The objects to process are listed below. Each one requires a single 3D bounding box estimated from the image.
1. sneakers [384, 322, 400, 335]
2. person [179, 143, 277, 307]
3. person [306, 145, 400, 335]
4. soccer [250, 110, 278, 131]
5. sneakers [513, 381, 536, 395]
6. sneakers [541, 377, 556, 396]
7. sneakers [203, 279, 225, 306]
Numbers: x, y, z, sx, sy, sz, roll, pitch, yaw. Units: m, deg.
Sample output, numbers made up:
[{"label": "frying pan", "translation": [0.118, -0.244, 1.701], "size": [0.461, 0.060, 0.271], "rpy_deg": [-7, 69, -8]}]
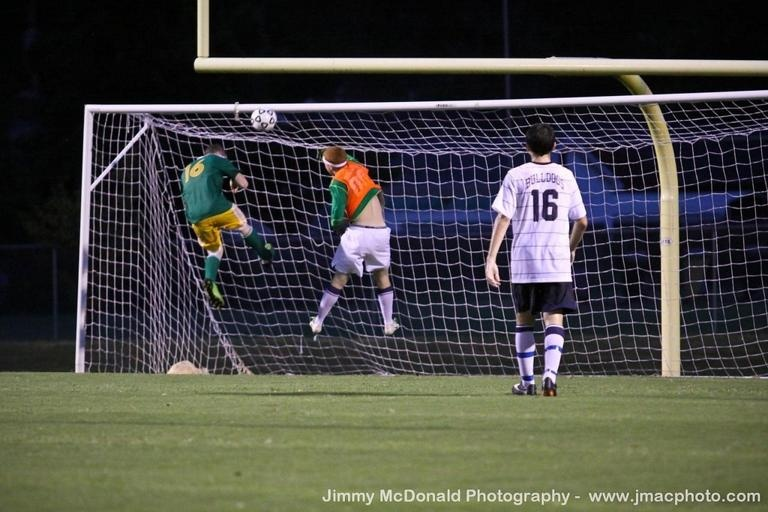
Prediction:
[{"label": "sneakers", "translation": [0.105, 1.022, 14.408], "size": [0.171, 0.204, 0.354], "rpy_deg": [-11, 12, -3]}, {"label": "person", "translation": [-2.240, -0.460, 14.507], "size": [1.006, 2.162, 1.298], "rpy_deg": [-14, 13, -10]}, {"label": "person", "translation": [-0.445, -0.096, 14.520], "size": [1.075, 2.901, 1.064], "rpy_deg": [-9, 14, 8]}, {"label": "soccer", "translation": [-1.707, -1.901, 14.528], "size": [0.355, 0.303, 0.314], "rpy_deg": [0, 0, 5]}, {"label": "sneakers", "translation": [1.742, 1.659, 12.676], "size": [0.308, 0.119, 0.120], "rpy_deg": [3, 4, 37]}, {"label": "sneakers", "translation": [2.013, 1.616, 12.449], "size": [0.113, 0.262, 0.117], "rpy_deg": [-4, 30, 11]}, {"label": "sneakers", "translation": [-2.332, 0.530, 14.110], "size": [0.200, 0.417, 0.286], "rpy_deg": [-14, 13, -11]}]
